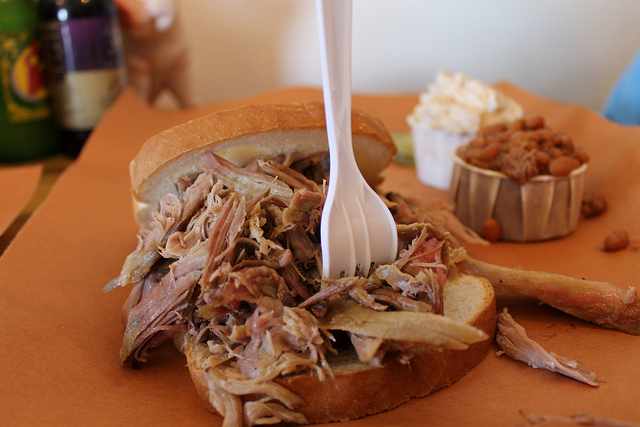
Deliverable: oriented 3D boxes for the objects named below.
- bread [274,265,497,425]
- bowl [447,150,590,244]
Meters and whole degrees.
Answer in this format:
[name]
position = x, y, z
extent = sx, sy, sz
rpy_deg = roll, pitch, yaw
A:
[bread]
position = 0.303, 0.519, 2.083
extent = 0.642, 0.173, 0.482
rpy_deg = -15, 20, -20
[bowl]
position = 0.939, -0.111, 2.912
extent = 0.586, 0.339, 0.618
rpy_deg = 10, 13, -2
